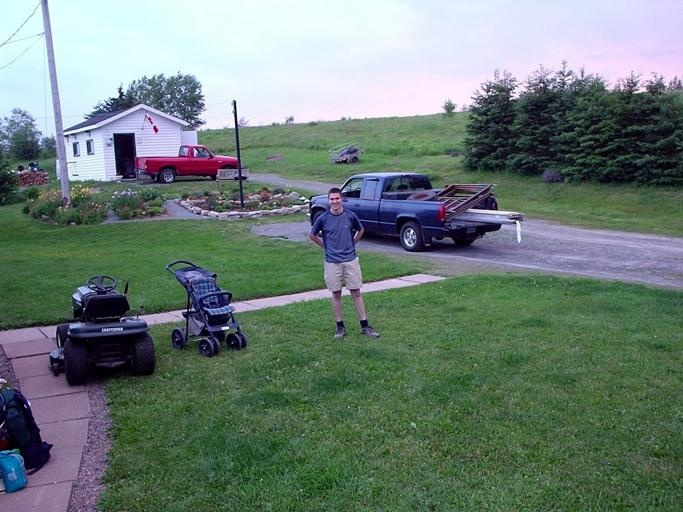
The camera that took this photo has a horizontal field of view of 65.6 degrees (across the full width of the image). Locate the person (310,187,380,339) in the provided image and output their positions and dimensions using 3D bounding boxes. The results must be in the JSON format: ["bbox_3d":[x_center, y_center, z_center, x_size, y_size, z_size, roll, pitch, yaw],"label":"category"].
[{"bbox_3d":[0.003,0.043,8.549,0.958,2.281,1.320,-2,12,-4],"label":"person"}]

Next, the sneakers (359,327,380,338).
[{"bbox_3d":[0.449,1.185,8.286,0.248,0.110,0.335,-4,12,-14],"label":"sneakers"}]

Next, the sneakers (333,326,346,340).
[{"bbox_3d":[-0.031,1.210,8.286,0.136,0.162,0.366,0,-7,0],"label":"sneakers"}]

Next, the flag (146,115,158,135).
[{"bbox_3d":[-11.741,-8.347,33.425,0.797,1.280,0.830,-10,15,-37],"label":"flag"}]

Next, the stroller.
[{"bbox_3d":[-2.081,0.837,8.029,0.841,1.090,1.281,-12,16,-42],"label":"stroller"}]
